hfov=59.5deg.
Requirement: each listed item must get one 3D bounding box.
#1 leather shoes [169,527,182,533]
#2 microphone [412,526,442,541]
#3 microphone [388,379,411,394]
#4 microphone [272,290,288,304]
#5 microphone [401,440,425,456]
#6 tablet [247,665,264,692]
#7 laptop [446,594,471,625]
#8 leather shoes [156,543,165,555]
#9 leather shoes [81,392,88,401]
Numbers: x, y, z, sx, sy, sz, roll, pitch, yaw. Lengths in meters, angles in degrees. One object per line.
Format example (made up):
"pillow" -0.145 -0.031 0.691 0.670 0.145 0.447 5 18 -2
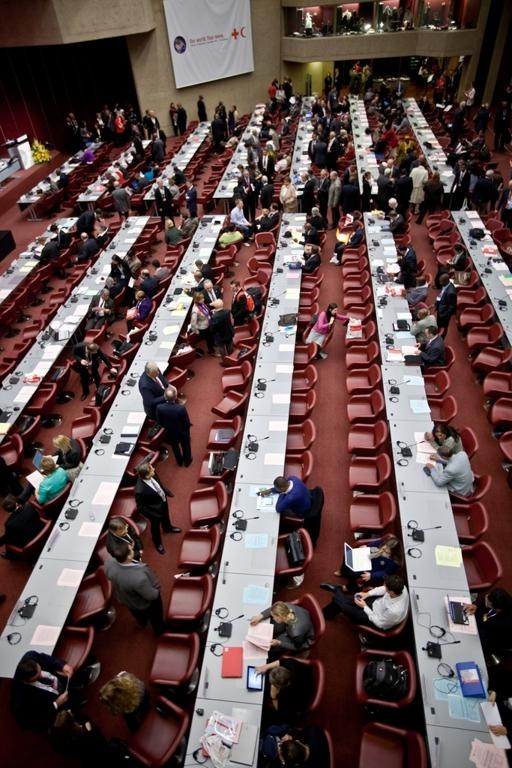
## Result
"leather shoes" -1.093 1.982 6.092 0.169 0.122 0.071 -6 60 -5
"microphone" 1.827 1.591 4.770 0.249 0.100 0.142 -3 24 9
"microphone" 2.187 0.057 6.830 0.245 0.270 0.168 7 71 -7
"microphone" 0.498 -1.765 9.164 0.167 0.272 0.267 12 32 38
"microphone" 2.005 0.823 5.780 0.151 0.169 0.046 4 0 -5
"tablet" -0.001 2.445 3.715 0.133 0.023 0.198 10 49 -13
"laptop" 1.855 2.069 4.078 0.166 0.119 0.194 0 36 12
"leather shoes" -1.247 2.149 5.854 0.061 0.190 0.076 -25 30 -20
"leather shoes" -3.363 0.255 8.714 0.127 0.065 0.196 7 74 33
